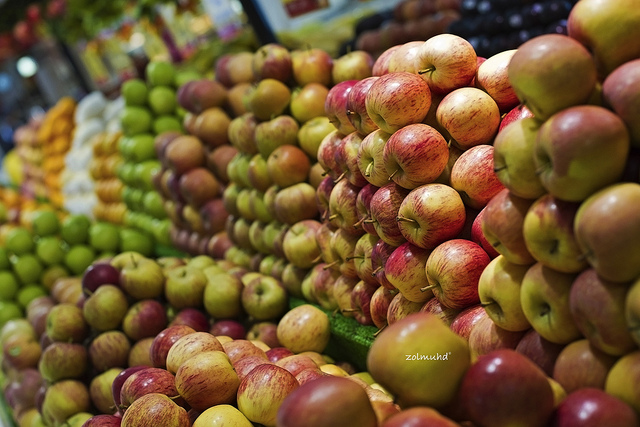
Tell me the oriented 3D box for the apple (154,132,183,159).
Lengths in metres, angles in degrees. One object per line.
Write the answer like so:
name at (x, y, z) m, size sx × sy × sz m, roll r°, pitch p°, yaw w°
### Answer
apple at (-1.111, -0.503, 3.914) m, size 0.171 × 0.194 × 0.177 m, roll 20°, pitch 36°, yaw -17°

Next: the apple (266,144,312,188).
apple at (-0.193, -0.287, 3.299) m, size 0.214 × 0.242 × 0.235 m, roll -19°, pitch 33°, yaw 0°

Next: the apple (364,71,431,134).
apple at (0.322, -0.558, 2.501) m, size 0.173 × 0.234 × 0.186 m, roll 30°, pitch 24°, yaw 22°

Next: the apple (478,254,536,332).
apple at (0.708, 0.310, 2.213) m, size 0.280 × 0.285 × 0.264 m, roll -1°, pitch 28°, yaw 5°

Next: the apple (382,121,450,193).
apple at (0.413, -0.260, 2.501) m, size 0.242 × 0.300 × 0.254 m, roll 6°, pitch 10°, yaw -24°

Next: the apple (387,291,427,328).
apple at (0.402, 0.450, 2.652) m, size 0.193 × 0.146 × 0.161 m, roll -36°, pitch 62°, yaw 20°

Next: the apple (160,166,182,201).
apple at (-1.099, -0.228, 3.943) m, size 0.111 × 0.249 × 0.178 m, roll -13°, pitch -9°, yaw -7°

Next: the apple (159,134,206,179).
apple at (-0.933, -0.411, 3.760) m, size 0.320 × 0.266 × 0.271 m, roll -40°, pitch 11°, yaw -16°

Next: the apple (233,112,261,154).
apple at (-0.488, -0.538, 3.464) m, size 0.194 × 0.255 × 0.199 m, roll -7°, pitch 26°, yaw -40°

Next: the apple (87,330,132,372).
apple at (-1.249, 0.809, 3.210) m, size 0.229 × 0.222 × 0.219 m, roll -52°, pitch 41°, yaw 13°

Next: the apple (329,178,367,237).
apple at (0.124, -0.023, 2.876) m, size 0.254 × 0.287 × 0.165 m, roll 5°, pitch 40°, yaw 39°

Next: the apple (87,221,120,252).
apple at (-1.855, 0.213, 4.639) m, size 0.217 × 0.262 × 0.275 m, roll 1°, pitch -10°, yaw -6°

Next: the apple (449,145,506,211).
apple at (0.687, -0.152, 2.449) m, size 0.209 × 0.231 × 0.262 m, roll 19°, pitch 53°, yaw 26°

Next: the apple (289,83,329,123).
apple at (-0.071, -0.675, 3.266) m, size 0.232 × 0.179 × 0.172 m, roll -8°, pitch 35°, yaw 26°

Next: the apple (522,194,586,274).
apple at (0.919, 0.048, 2.048) m, size 0.171 × 0.222 × 0.192 m, roll 8°, pitch 13°, yaw 19°

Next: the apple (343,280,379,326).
apple at (0.199, 0.452, 2.893) m, size 0.227 × 0.224 × 0.211 m, roll -8°, pitch 25°, yaw 2°

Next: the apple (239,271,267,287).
apple at (-0.451, 0.396, 3.431) m, size 0.103 × 0.100 × 0.098 m, roll -5°, pitch 42°, yaw 7°

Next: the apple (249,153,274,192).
apple at (-0.338, -0.276, 3.434) m, size 0.163 × 0.230 × 0.179 m, roll -16°, pitch 13°, yaw 5°

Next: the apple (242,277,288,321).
apple at (-0.309, 0.507, 3.246) m, size 0.218 × 0.263 × 0.264 m, roll -1°, pitch -14°, yaw 17°

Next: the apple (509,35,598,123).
apple at (0.856, -0.506, 1.997) m, size 0.281 × 0.252 × 0.217 m, roll 4°, pitch 40°, yaw 38°

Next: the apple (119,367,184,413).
apple at (-0.790, 0.863, 2.484) m, size 0.207 × 0.248 × 0.262 m, roll 0°, pitch 1°, yaw 13°

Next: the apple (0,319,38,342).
apple at (-2.319, 0.906, 4.153) m, size 0.150 × 0.207 × 0.165 m, roll -15°, pitch 11°, yaw 19°

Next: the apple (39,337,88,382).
apple at (-1.546, 0.904, 3.240) m, size 0.312 × 0.224 × 0.152 m, roll -18°, pitch 31°, yaw 12°

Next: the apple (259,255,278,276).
apple at (-0.349, 0.333, 3.540) m, size 0.107 × 0.153 × 0.118 m, roll 2°, pitch 1°, yaw 1°

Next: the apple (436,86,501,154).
apple at (0.686, -0.438, 2.505) m, size 0.226 × 0.326 × 0.262 m, roll 9°, pitch -5°, yaw 23°

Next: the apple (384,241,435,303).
apple at (0.472, 0.234, 2.554) m, size 0.222 × 0.301 × 0.218 m, roll -17°, pitch 12°, yaw -42°

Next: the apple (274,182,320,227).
apple at (-0.158, -0.039, 3.300) m, size 0.221 × 0.234 × 0.234 m, roll -25°, pitch 0°, yaw -13°
